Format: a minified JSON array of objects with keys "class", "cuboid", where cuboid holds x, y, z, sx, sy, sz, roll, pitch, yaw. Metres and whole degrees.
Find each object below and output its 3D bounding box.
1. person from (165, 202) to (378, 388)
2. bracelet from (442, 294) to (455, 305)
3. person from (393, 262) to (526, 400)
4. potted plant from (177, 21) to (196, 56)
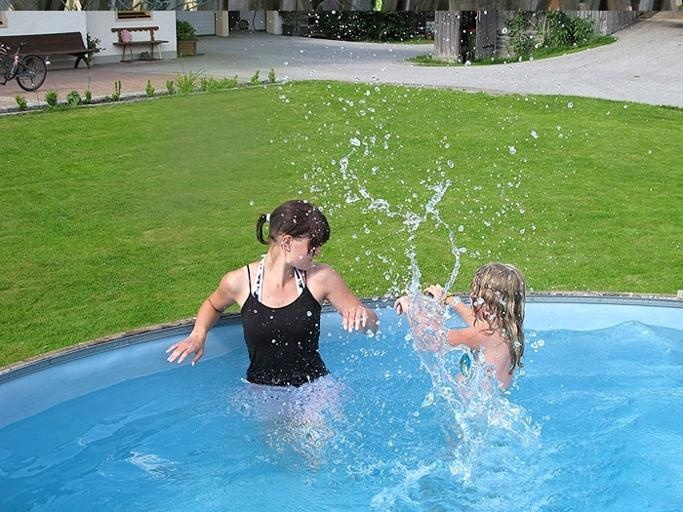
[{"class":"person","cuboid":[-0.376,0.289,3.566,1.077,1.133,0.691,2,26,-1]},{"class":"bracelet","cuboid":[0.718,0.292,4.091,0.076,0.060,0.077,0,0,-16]},{"class":"person","cuboid":[0.721,0.386,3.778,0.463,0.772,0.727,-11,17,-32]},{"class":"potted plant","cuboid":[-5.319,-7.399,20.888,0.668,1.136,0.651,-6,15,-18]}]
